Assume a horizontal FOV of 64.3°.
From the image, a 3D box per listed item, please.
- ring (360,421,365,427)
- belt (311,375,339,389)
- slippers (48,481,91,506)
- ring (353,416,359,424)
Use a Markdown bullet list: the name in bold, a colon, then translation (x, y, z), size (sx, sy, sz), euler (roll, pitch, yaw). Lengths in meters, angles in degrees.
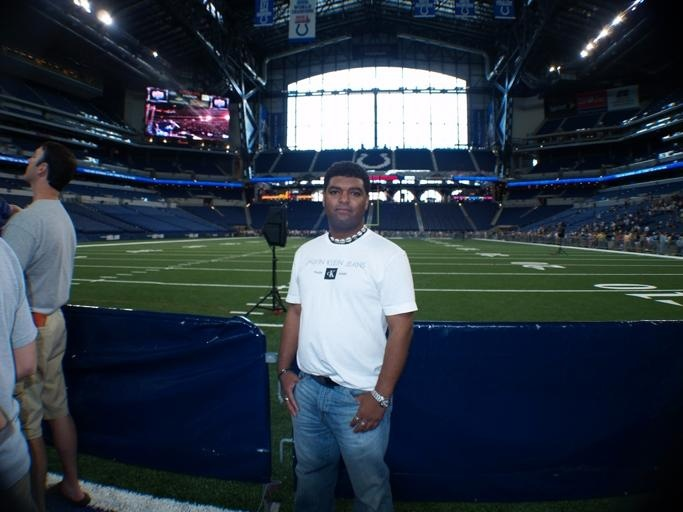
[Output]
- **ring**: translation (0.151, 1.233, 3.990), size (0.037, 0.037, 0.009), euler (5, -6, 31)
- **belt**: translation (-0.128, 0.953, 4.109), size (0.143, 0.035, 0.083), euler (20, -9, 6)
- **slippers**: translation (-2.275, 1.971, 4.505), size (0.447, 0.168, 0.161), euler (0, -12, 17)
- **ring**: translation (0.105, 1.209, 3.997), size (0.037, 0.019, 0.051), euler (2, -4, 31)
